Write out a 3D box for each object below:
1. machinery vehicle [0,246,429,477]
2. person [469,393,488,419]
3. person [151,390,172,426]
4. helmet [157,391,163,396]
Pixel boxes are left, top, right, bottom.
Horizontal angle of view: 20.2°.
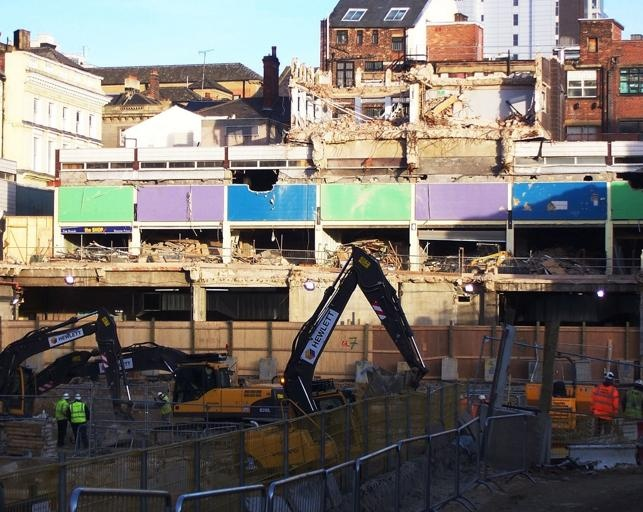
[{"bbox_3d":[-10.032,4.660,103.791,33.336,16.897,9.024,0,-4,9],"label":"machinery vehicle"},{"bbox_3d":[8.705,7.991,96.966,1.036,1.342,1.402,0,-32,-1],"label":"person"},{"bbox_3d":[-8.390,8.371,97.407,0.449,1.679,0.972,-4,20,-30],"label":"person"},{"bbox_3d":[-8.659,7.489,97.418,0.310,0.247,0.409,-1,-16,8],"label":"helmet"}]
